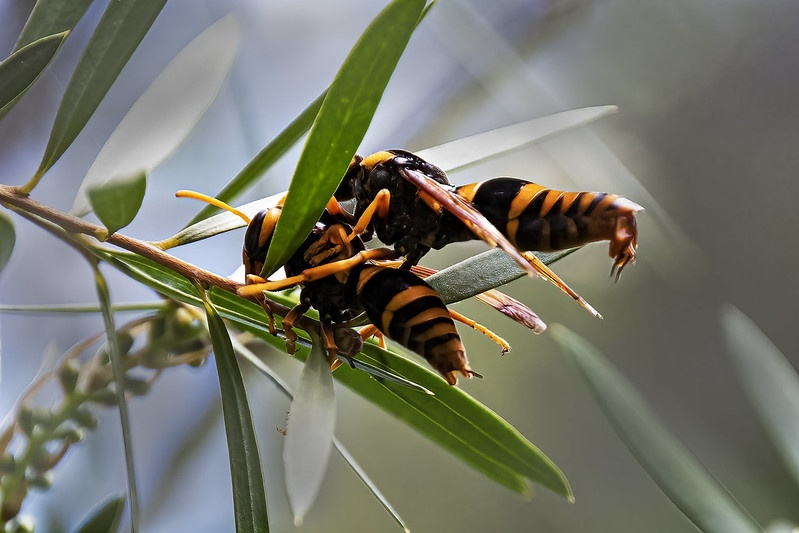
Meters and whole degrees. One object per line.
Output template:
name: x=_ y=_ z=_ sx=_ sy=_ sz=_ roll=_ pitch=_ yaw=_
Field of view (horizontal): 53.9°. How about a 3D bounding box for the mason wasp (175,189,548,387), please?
mason wasp: x=-0.061 y=0.011 z=1.239 sx=0.171 sy=0.442 sz=0.330 roll=-65 pitch=-10 yaw=16
